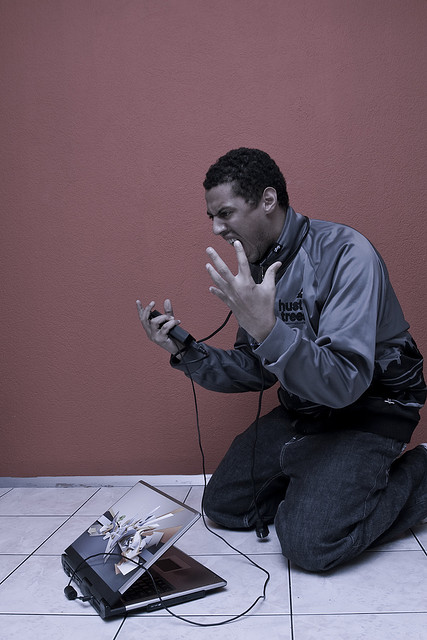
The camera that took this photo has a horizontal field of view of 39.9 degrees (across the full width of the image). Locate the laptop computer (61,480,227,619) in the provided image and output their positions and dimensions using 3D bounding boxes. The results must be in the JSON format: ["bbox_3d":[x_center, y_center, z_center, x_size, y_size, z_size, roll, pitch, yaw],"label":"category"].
[{"bbox_3d":[-0.187,0.563,1.403,0.268,0.175,0.333,-33,22,-6],"label":"laptop computer"}]

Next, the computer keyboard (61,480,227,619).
[{"bbox_3d":[-0.153,0.611,1.441,0.265,0.176,0.336,-36,23,-10],"label":"computer keyboard"}]

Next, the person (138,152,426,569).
[{"bbox_3d":[0.115,0.092,1.693,0.757,1.111,0.803,-5,3,-43],"label":"person"}]
